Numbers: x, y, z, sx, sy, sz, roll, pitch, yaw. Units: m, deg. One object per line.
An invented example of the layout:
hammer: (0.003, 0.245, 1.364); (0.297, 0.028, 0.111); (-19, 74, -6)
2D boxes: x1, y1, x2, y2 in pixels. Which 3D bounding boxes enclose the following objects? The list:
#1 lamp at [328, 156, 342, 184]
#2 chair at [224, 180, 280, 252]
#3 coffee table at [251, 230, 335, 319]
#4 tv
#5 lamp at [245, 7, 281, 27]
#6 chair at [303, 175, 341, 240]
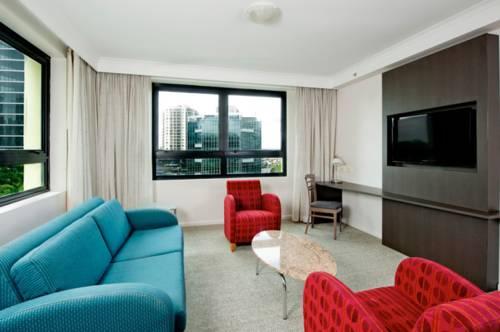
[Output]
lamp: (1.570, 0.100, 6.364); (0.252, 0.517, 0.253); (1, -4, -5)
chair: (-0.018, 0.791, 5.678); (0.813, 1.081, 0.865); (-1, -2, -12)
coffee table: (0.681, 1.316, 4.233); (0.592, 0.346, 0.959); (18, 21, 24)
tv: (2.719, -0.432, 5.162); (0.592, 0.787, 1.135); (-9, 6, -36)
lamp: (0.170, -1.954, 4.461); (0.436, 0.153, 0.335); (-4, 7, -34)
chair: (1.287, 0.696, 6.047); (0.654, 0.981, 0.582); (2, 4, 38)
